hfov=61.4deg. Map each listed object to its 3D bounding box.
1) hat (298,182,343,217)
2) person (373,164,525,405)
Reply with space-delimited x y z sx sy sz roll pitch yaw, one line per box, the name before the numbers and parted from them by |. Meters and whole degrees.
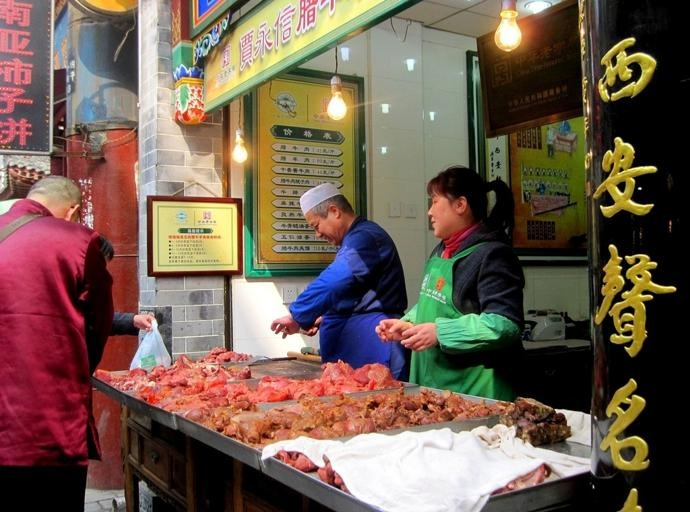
hat | -0.189 -0.398 4.257 0.252 0.140 0.247 -37 3 20
person | 0.553 0.135 3.081 0.753 1.216 0.715 -1 2 18
